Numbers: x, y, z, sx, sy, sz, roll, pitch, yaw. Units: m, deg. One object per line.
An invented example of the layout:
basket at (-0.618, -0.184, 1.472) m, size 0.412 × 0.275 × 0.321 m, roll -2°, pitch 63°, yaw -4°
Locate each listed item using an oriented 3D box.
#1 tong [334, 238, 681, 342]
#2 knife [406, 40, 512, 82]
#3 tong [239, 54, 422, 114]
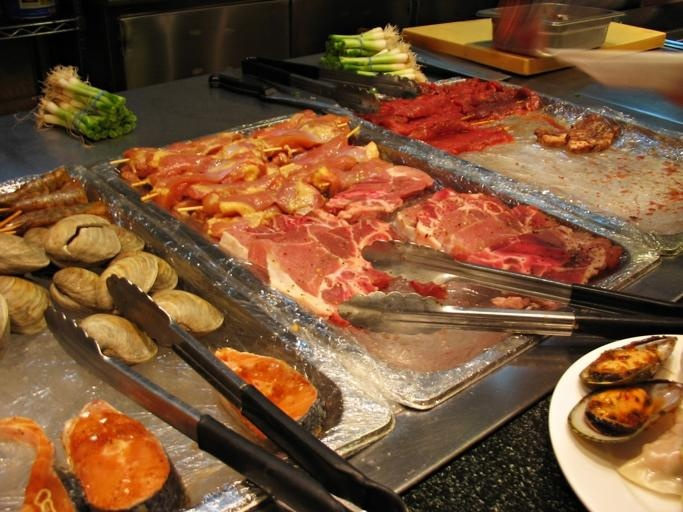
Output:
tong at (0.210, 0.078, 1.168) m, size 0.922 × 0.101 × 0.210 m, roll 4°, pitch 42°, yaw 17°
knife at (0.591, -1.059, 2.844) m, size 0.726 × 0.066 × 0.184 m, roll 20°, pitch 52°, yaw 34°
tong at (-0.163, -0.823, 2.431) m, size 0.656 × 0.077 × 0.148 m, roll 11°, pitch 55°, yaw -5°
